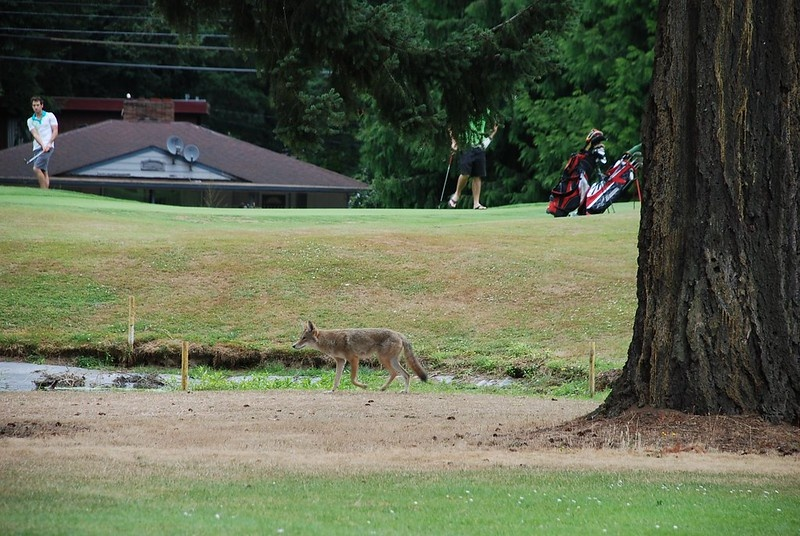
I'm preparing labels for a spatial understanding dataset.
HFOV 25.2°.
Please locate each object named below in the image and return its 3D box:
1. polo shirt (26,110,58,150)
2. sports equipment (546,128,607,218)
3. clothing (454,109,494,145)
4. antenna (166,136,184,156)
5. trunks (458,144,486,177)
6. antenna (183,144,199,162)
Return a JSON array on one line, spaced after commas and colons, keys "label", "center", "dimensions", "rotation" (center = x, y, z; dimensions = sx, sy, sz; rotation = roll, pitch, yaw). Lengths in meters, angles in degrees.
[{"label": "polo shirt", "center": [-12.386, -4.706, 61.731], "dimensions": [0.897, 1.436, 0.841], "rotation": [3, 34, 0]}, {"label": "sports equipment", "center": [6.494, -3.426, 65.256], "dimensions": [1.722, 3.385, 1.263], "rotation": [16, 44, -1]}, {"label": "clothing", "center": [2.096, -3.762, 48.799], "dimensions": [1.085, 0.979, 1.699], "rotation": [4, 4, 4]}, {"label": "antenna", "center": [-9.343, -4.993, 74.134], "dimensions": [0.605, 0.783, 0.524], "rotation": [14, 11, 15]}, {"label": "trunks", "center": [2.603, -3.628, 62.870], "dimensions": [1.311, 1.412, 0.763], "rotation": [-2, 2, -39]}, {"label": "antenna", "center": [-8.692, -4.653, 74.200], "dimensions": [0.598, 0.707, 0.690], "rotation": [3, 3, -10]}]
